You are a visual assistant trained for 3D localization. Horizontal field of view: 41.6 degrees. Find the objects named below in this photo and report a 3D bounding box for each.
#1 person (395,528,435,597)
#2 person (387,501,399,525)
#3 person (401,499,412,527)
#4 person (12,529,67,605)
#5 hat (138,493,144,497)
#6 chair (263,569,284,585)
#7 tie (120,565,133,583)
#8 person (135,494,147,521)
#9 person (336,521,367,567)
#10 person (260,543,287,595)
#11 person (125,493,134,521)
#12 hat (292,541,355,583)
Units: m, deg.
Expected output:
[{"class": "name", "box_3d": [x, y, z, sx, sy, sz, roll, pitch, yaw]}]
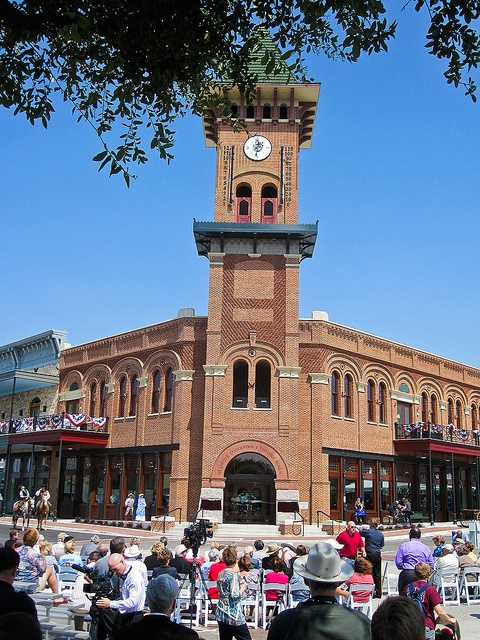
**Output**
[{"class": "person", "box_3d": [2.910, 4.216, 10.407, 0.561, 1.490, 0.490, 6, -14, 2]}, {"class": "person", "box_3d": [8.670, 10.630, 34.905, 0.621, 1.203, 1.582, -3, -20, 12]}, {"class": "person", "box_3d": [9.384, 10.564, 34.891, 0.617, 1.363, 3.142, -3, -19, 14]}, {"class": "person", "box_3d": [-2.784, 3.430, 8.721, 0.432, 1.144, 0.698, -2, -2, 28]}, {"class": "hat", "box_3d": [-5.232, 9.349, 33.698, 0.232, 0.278, 0.278, 1, -38, -1]}, {"class": "chair", "box_3d": [0.606, 4.041, 9.910, 0.299, 0.197, 0.159, 1, -21, 7]}, {"class": "tie", "box_3d": [-1.251, 2.806, 6.989, 0.178, 0.091, 0.135, -41, -13, -3]}, {"class": "person", "box_3d": [-5.094, 9.761, 32.873, 0.528, 1.432, 2.036, 5, -19, -7]}, {"class": "person", "box_3d": [2.226, 4.545, 12.513, 0.608, 1.077, 0.337, 1, -2, 10]}, {"class": "person", "box_3d": [0.645, 4.052, 10.227, 0.515, 0.844, 0.336, 4, -1, -24]}, {"class": "person", "box_3d": [-5.903, 9.944, 33.837, 0.563, 1.391, 1.625, 5, -19, -9]}, {"class": "hat", "box_3d": [0.500, 1.424, 3.735, 0.286, 0.106, 0.310, 3, -4, 0]}]
